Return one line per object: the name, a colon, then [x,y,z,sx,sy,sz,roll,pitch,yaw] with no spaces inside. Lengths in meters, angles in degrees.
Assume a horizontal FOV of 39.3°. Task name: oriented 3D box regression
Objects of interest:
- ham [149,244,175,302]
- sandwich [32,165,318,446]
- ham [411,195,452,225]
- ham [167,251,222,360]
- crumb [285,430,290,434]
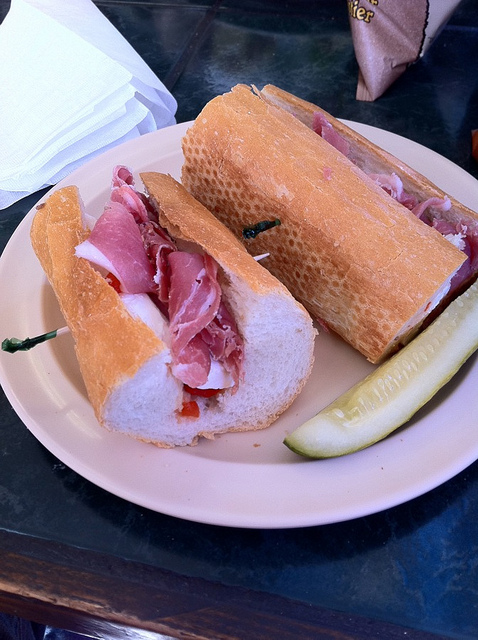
ham: [-0.137,-0.083,1.210,0.048,0.070,0.092,-15,66,28]
sandwich: [-0.202,-0.035,1.280,0.401,0.225,0.597,-24,56,-27]
ham: [0.392,-0.235,1.372,0.060,0.069,0.023,-11,62,-23]
ham: [-0.075,-0.035,1.143,0.089,0.045,0.217,-4,60,0]
crumb: [0.089,0.206,1.231,0.004,0.001,0.006,-4,33,-3]
